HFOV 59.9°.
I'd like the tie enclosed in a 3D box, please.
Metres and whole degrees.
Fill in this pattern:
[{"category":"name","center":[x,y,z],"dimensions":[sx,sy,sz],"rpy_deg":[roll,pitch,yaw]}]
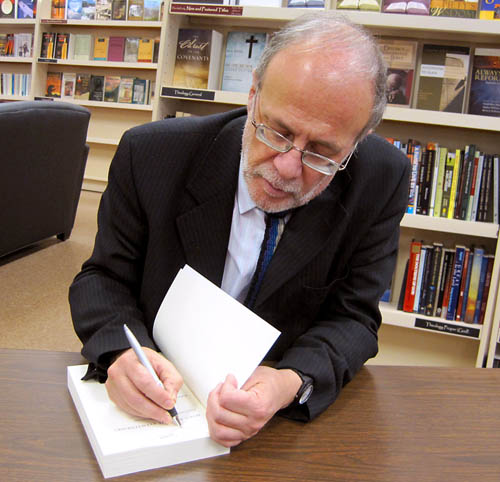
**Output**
[{"category":"tie","center":[0.057,-0.005,1.064],"dimensions":[0.052,0.335,0.039],"rpy_deg":[13,-15,20]}]

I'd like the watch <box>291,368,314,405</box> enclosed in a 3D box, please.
[{"category":"watch","center":[0.094,0.262,0.752],"dimensions":[0.034,0.038,0.024],"rpy_deg":[15,0,44]}]

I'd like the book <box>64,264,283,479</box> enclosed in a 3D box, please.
[{"category":"book","center":[-0.139,0.186,0.690],"dimensions":[0.265,0.169,0.272],"rpy_deg":[-8,40,-42]}]

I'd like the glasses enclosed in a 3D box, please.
[{"category":"glasses","center":[0.099,-0.221,0.907],"dimensions":[0.202,0.159,0.117],"rpy_deg":[6,12,0]}]

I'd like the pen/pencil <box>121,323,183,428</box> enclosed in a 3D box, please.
[{"category":"pen/pencil","center":[-0.155,0.218,0.692],"dimensions":[0.015,0.149,0.016],"rpy_deg":[-36,-3,11]}]
